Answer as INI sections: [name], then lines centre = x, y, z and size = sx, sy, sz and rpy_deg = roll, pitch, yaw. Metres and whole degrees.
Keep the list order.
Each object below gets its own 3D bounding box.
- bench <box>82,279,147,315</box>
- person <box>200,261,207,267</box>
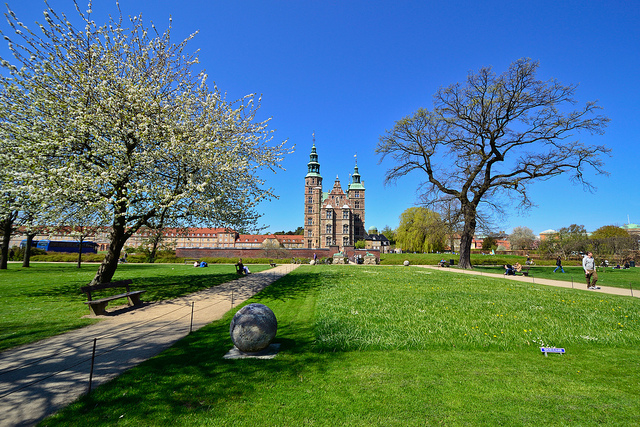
[bench]
centre = -8.840, 3.551, 15.837
size = 1.069, 1.072, 2.989
rpy_deg = 0, -3, 10
[person]
centre = -12.231, 5.370, 38.179
size = 0.531, 0.846, 0.911
rpy_deg = -7, 11, -38
